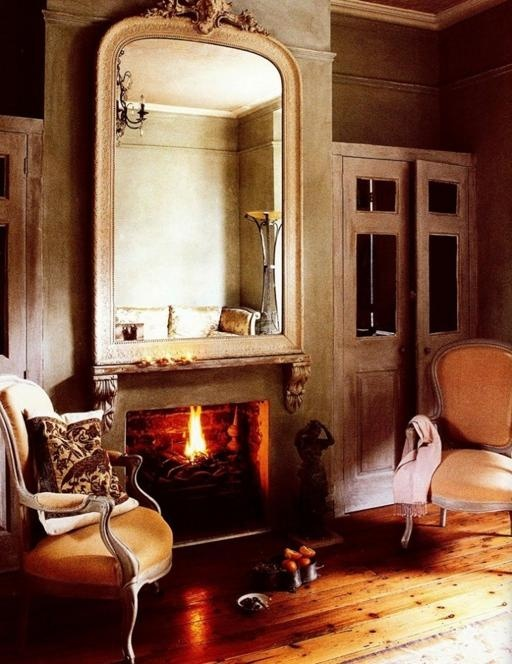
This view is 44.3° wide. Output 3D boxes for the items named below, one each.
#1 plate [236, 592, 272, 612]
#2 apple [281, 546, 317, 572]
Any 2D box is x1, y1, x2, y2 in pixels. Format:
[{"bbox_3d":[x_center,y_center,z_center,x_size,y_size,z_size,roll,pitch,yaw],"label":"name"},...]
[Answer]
[{"bbox_3d":[-0.010,1.095,2.546,0.139,0.032,0.130,-1,3,-8],"label":"plate"},{"bbox_3d":[0.173,1.008,2.758,0.083,0.050,0.113,8,11,29],"label":"apple"}]
